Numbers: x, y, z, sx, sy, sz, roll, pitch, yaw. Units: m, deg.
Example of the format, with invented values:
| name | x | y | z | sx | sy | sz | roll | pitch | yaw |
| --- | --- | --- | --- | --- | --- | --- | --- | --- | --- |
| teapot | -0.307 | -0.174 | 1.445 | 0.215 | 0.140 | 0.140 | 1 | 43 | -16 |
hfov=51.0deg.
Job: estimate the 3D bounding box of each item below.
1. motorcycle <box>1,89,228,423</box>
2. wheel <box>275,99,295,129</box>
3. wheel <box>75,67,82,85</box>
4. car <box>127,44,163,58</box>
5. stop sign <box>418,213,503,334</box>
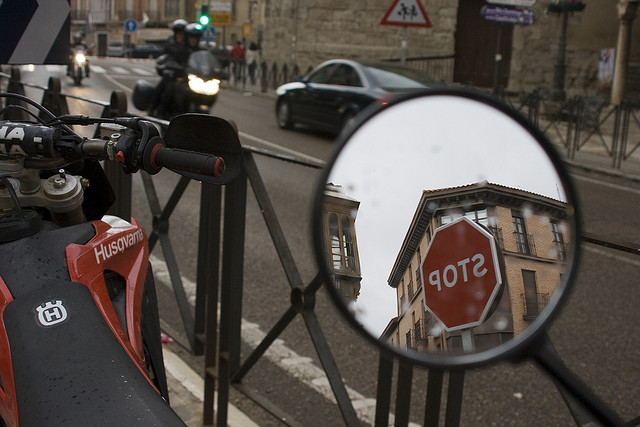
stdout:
| name | x | y | z | sx | sy | sz | roll | pitch | yaw |
| --- | --- | --- | --- | --- | --- | --- | --- | --- | --- |
| motorcycle | -0.843 | 0.141 | 2.360 | 0.779 | 0.900 | 1.311 | 2 | 14 | -22 |
| wheel | -0.166 | -0.480 | 3.189 | 0.041 | 0.144 | 0.127 | 0 | 0 | -15 |
| wheel | -8.697 | -4.920 | 24.174 | 0.097 | 0.493 | 0.463 | 1 | -8 | -9 |
| car | -12.992 | -12.094 | 50.044 | 1.973 | 0.821 | 1.085 | 4 | 18 | -4 |
| stop sign | 0.376 | 0.148 | 1.771 | 0.237 | 0.385 | 0.036 | -3 | -4 | 7 |
